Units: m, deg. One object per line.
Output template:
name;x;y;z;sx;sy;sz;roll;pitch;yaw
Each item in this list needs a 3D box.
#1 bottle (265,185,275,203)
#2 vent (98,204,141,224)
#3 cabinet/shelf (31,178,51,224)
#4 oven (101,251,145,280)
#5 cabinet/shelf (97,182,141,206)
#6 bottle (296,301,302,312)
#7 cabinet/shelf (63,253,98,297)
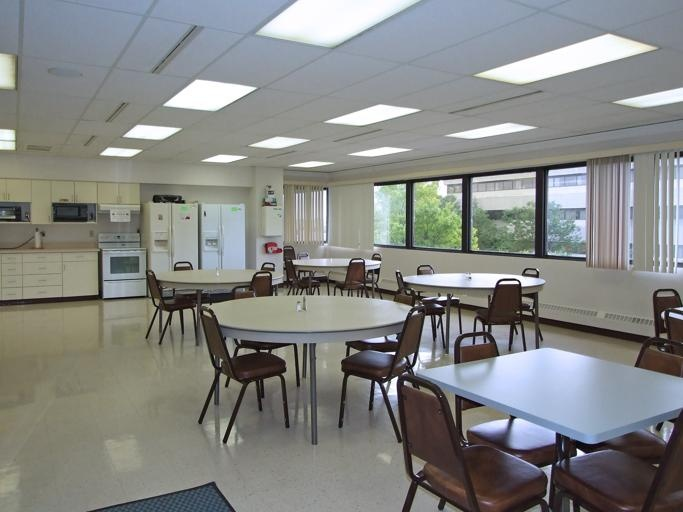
bottle;-1.636;-1.430;11.477;0.235;0.432;0.293;-1;8;-8
vent;-4.765;-0.928;10.606;0.855;0.400;0.554;-3;8;-24
cabinet/shelf;-5.941;-1.087;9.760;0.366;0.831;0.110;-6;10;-36
oven;-4.628;0.172;10.441;0.926;0.794;0.618;0;-1;-36
cabinet/shelf;-4.690;-1.304;10.364;0.806;0.451;0.113;-4;9;-25
bottle;-0.425;0.498;4.855;0.071;0.113;0.071;-1;4;0
cabinet/shelf;-5.473;0.388;10.370;0.833;1.198;0.767;1;0;-37
